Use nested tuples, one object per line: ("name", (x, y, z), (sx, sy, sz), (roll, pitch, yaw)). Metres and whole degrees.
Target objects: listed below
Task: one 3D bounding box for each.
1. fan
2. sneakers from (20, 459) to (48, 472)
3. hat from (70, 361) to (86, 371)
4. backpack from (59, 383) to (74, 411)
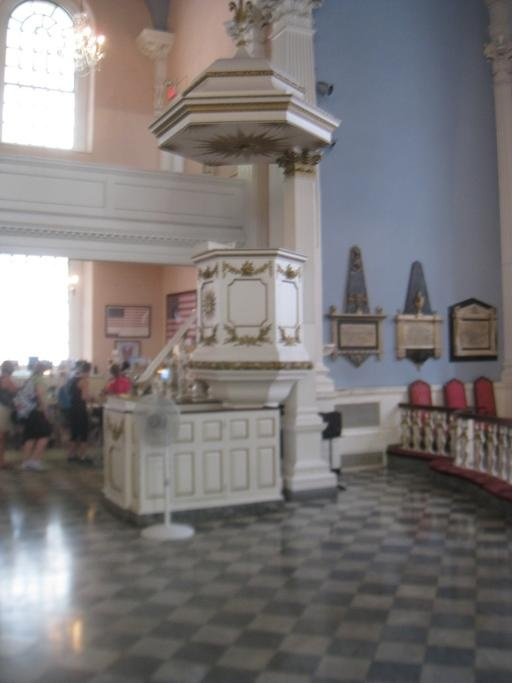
("fan", (-0.636, 0.865, 4.512), (0.401, 0.979, 0.469), (0, -2, 0))
("sneakers", (-2.469, 1.359, 7.002), (0.334, 0.121, 0.106), (-1, -2, 27))
("hat", (-2.091, 0.285, 7.452), (0.127, 0.138, 0.165), (7, -3, -23))
("backpack", (-2.253, 0.652, 7.467), (0.086, 0.294, 0.221), (8, -10, -42))
